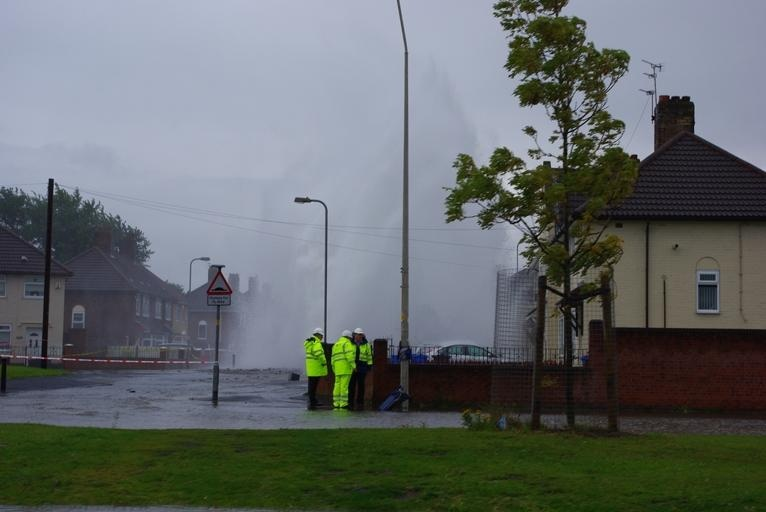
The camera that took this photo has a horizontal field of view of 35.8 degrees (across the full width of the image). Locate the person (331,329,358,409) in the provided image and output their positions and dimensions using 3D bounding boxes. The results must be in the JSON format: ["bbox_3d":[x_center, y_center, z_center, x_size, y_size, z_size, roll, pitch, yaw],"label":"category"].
[{"bbox_3d":[-1.249,3.668,37.796,0.747,2.331,1.559,0,6,-1],"label":"person"}]
